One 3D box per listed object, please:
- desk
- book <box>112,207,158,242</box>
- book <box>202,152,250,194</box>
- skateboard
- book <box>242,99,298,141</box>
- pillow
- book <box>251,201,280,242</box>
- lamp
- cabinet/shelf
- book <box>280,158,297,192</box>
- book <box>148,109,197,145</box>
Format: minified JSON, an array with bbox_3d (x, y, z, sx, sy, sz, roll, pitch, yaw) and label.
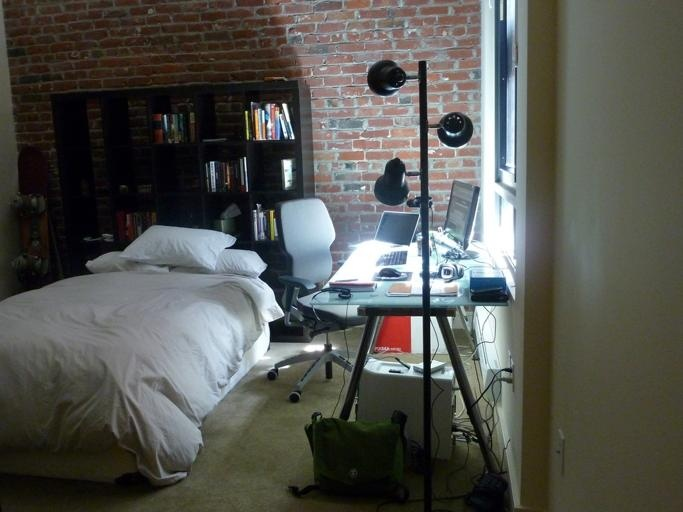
[{"bbox_3d":[0.381,0.436,3.381,0.944,0.931,1.236,1,7,10],"label":"desk"},{"bbox_3d":[-1.759,-0.255,5.118,0.258,0.405,0.299,2,0,7],"label":"book"},{"bbox_3d":[-0.936,-0.643,4.888,0.355,0.249,0.082,-2,12,8],"label":"book"},{"bbox_3d":[-2.670,-0.323,5.277,0.295,1.271,0.252,-3,6,-15],"label":"skateboard"},{"bbox_3d":[-0.555,-1.031,4.748,0.416,0.435,0.287,0,2,-1],"label":"book"},{"bbox_3d":[-1.214,-0.008,4.489,1.249,0.392,0.348,-4,12,-5],"label":"pillow"},{"bbox_3d":[-0.632,-0.248,4.854,0.266,0.381,0.367,0,5,4],"label":"book"},{"bbox_3d":[0.399,0.057,2.958,0.477,1.967,1.235,-1,12,12],"label":"lamp"},{"bbox_3d":[-1.211,-0.636,4.851,1.581,1.481,0.420,-1,8,13],"label":"cabinet/shelf"},{"bbox_3d":[-0.424,-0.645,4.861,0.117,0.241,0.207,-5,12,-7],"label":"book"},{"bbox_3d":[-1.338,-1.022,4.860,0.342,0.344,0.261,0,10,2],"label":"book"}]
